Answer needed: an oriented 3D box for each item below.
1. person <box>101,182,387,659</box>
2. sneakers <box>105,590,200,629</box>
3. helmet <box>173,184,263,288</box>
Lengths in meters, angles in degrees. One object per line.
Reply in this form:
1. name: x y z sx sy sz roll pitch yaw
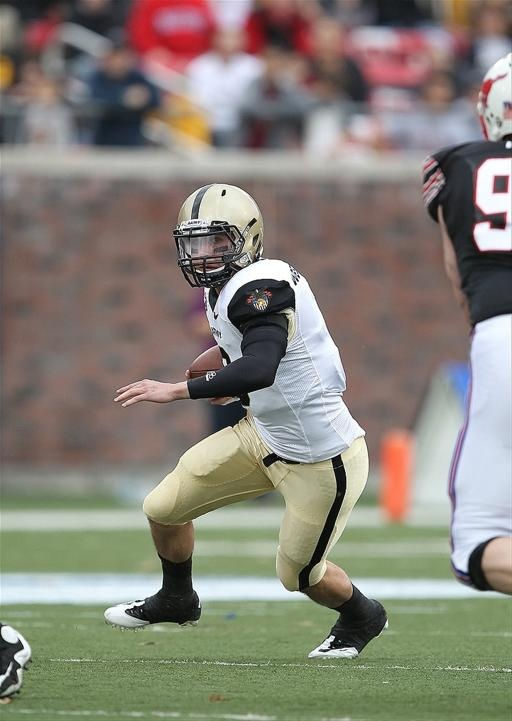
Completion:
1. person: -0.011 0.247 2.793 0.782 1.546 0.864 4 10 13
2. sneakers: -0.325 0.808 3.059 0.358 0.139 0.112 6 -13 3
3. helmet: -0.114 -0.368 2.766 0.257 0.312 0.312 1 9 -1
